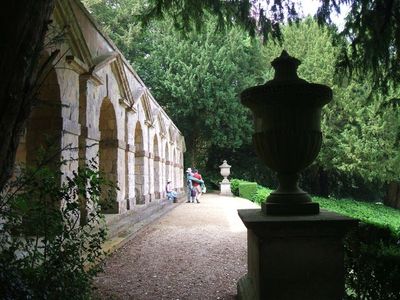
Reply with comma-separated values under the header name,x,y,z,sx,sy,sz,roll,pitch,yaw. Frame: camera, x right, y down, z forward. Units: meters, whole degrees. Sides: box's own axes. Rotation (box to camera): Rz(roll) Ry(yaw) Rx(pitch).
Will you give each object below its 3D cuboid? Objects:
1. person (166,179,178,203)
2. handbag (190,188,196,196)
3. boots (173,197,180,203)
name,x,y,z,sx,sy,sz,roll,pitch,yaw
person,-1.491,2.115,17.406,0.595,1.229,0.511,-5,7,-14
handbag,-0.381,2.207,17.533,0.304,0.646,0.339,1,-4,-11
boots,-1.267,2.619,17.623,0.190,0.430,0.396,5,-11,-33
